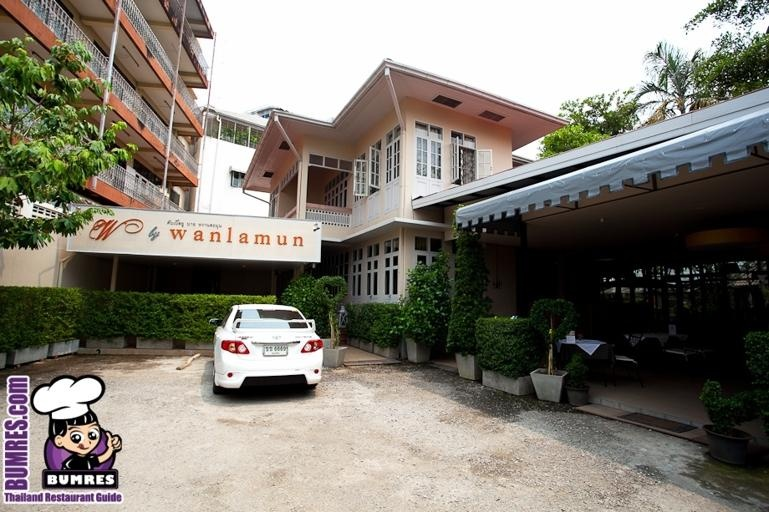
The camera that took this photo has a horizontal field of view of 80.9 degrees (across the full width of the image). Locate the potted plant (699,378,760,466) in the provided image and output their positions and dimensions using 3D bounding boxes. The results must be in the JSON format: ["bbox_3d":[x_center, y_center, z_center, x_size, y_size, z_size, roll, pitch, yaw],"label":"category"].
[{"bbox_3d":[6.500,3.157,8.567,0.841,1.390,0.541,6,9,35],"label":"potted plant"}]

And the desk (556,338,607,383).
[{"bbox_3d":[5.626,2.943,12.587,1.791,0.888,1.664,-5,-15,28],"label":"desk"}]

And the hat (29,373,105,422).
[{"bbox_3d":[-4.600,2.066,6.544,0.914,0.709,0.495,-2,8,-25],"label":"hat"}]

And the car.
[{"bbox_3d":[-2.812,2.131,10.722,1.616,1.028,3.255,2,-2,-17],"label":"car"}]
